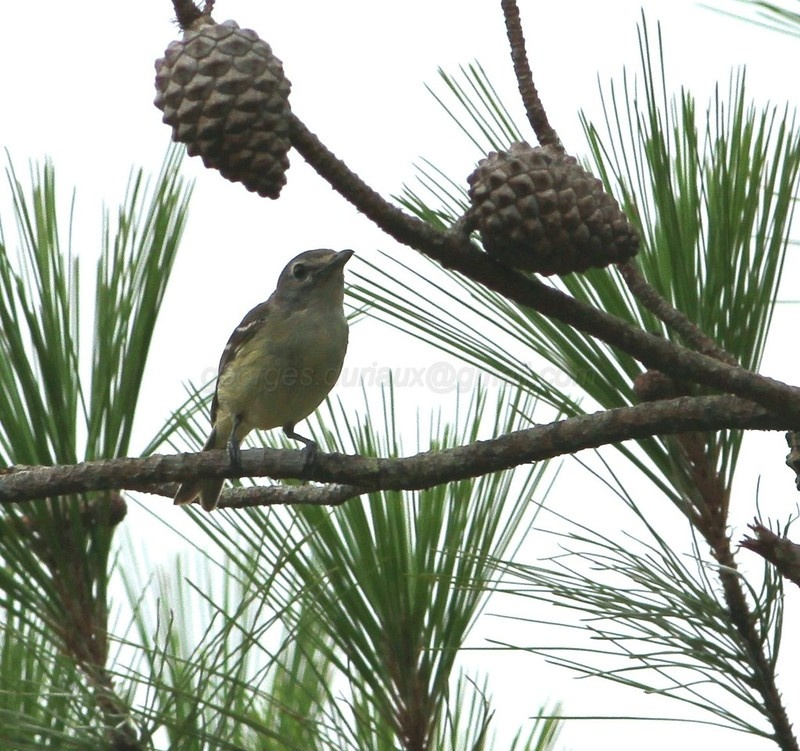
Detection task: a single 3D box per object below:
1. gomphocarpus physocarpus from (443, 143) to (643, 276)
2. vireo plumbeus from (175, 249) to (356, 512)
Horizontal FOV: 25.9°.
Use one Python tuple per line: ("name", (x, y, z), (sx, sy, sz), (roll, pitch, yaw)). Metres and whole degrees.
("gomphocarpus physocarpus", (0.371, -0.399, 4.518), (0.492, 0.345, 0.311), (19, -9, -3))
("vireo plumbeus", (-0.395, 0.090, 5.629), (0.298, 0.513, 0.866), (26, -60, -28))
